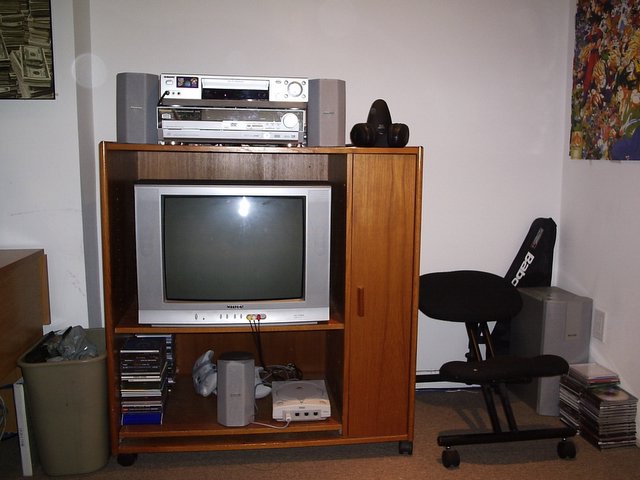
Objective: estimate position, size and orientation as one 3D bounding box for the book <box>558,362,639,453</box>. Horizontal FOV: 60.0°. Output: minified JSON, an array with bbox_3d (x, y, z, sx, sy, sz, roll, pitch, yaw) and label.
[{"bbox_3d":[1.525,0.907,2.997,0.299,0.143,0.419,-1,3,0],"label":"book"}]

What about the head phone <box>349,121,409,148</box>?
[{"bbox_3d":[0.306,-0.533,2.839,0.288,0.125,0.170,-1,10,3],"label":"head phone"}]

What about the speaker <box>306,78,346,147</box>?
[{"bbox_3d":[0.031,-0.645,2.846,0.203,0.332,0.190,-4,11,-21],"label":"speaker"}]

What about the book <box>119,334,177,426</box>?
[{"bbox_3d":[-0.905,0.695,2.919,0.217,0.434,0.342,-1,10,0],"label":"book"}]

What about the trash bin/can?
[{"bbox_3d":[-1.260,0.824,2.808,0.395,0.637,0.291,-4,10,-14],"label":"trash bin/can"}]

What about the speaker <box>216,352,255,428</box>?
[{"bbox_3d":[-0.429,0.773,2.889,0.208,0.325,0.207,0,-1,-34],"label":"speaker"}]

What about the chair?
[{"bbox_3d":[0.901,0.628,2.985,0.635,0.806,0.931,0,5,0],"label":"chair"}]

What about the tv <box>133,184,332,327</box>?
[{"bbox_3d":[-0.459,0.037,3.017,1.009,0.754,0.550,-1,14,-12],"label":"tv"}]

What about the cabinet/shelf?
[{"bbox_3d":[-0.305,0.335,2.820,1.599,1.630,0.572,0,6,-6],"label":"cabinet/shelf"}]

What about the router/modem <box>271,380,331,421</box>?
[{"bbox_3d":[-0.109,0.860,3.015,0.312,0.109,0.393,-1,8,-10],"label":"router/modem"}]

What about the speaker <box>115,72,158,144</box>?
[{"bbox_3d":[-0.894,-0.645,2.725,0.215,0.343,0.146,-5,11,-20],"label":"speaker"}]
